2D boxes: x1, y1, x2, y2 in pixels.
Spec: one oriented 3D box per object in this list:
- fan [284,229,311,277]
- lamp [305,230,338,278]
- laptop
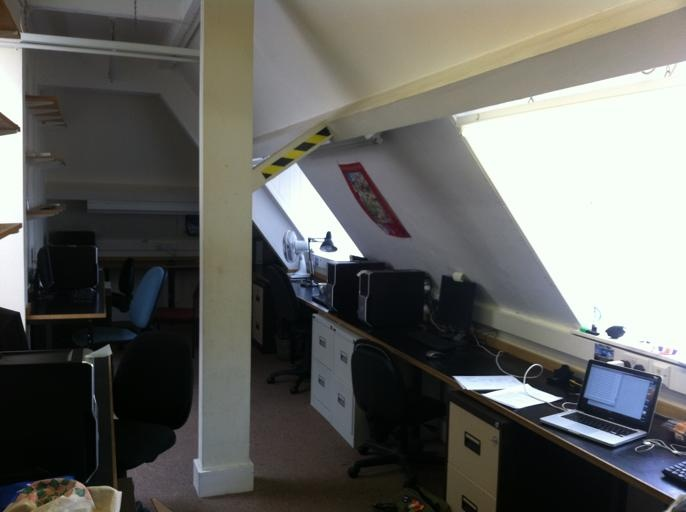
[{"bbox_3d":[-0.515,-0.038,5.999,0.346,0.546,0.358,-3,-1,-28],"label":"fan"},{"bbox_3d":[-0.229,-0.053,5.989,0.328,0.500,0.205,-5,39,-13],"label":"lamp"},{"bbox_3d":[1.284,0.730,2.721,0.418,0.297,0.396,-7,13,-35],"label":"laptop"}]
